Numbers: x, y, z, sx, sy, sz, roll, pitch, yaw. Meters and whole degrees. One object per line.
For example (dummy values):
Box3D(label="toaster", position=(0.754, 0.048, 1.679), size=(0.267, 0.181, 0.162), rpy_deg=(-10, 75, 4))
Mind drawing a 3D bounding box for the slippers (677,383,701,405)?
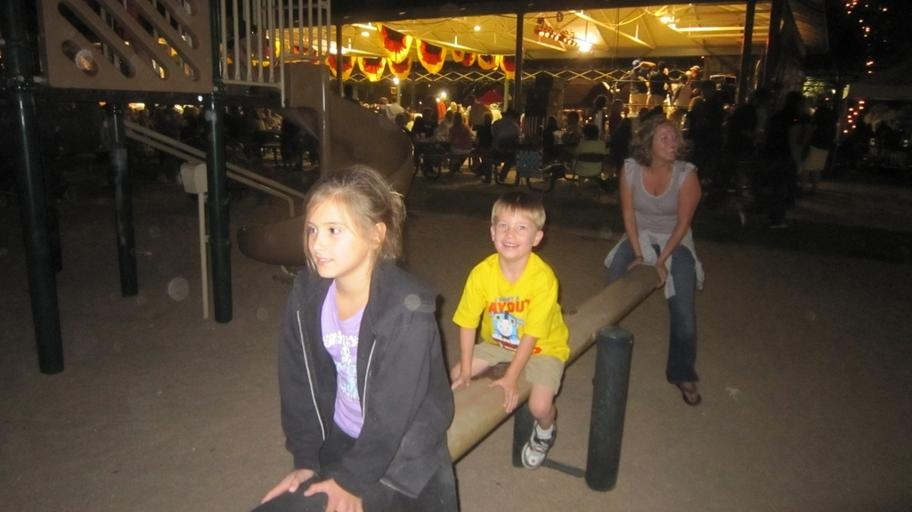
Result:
Box3D(label="slippers", position=(2.662, 1.572, 7.536), size=(0.156, 0.142, 0.342), rpy_deg=(-29, 38, 10))

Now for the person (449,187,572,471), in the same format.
Box3D(label="person", position=(0.535, 0.832, 6.484), size=(1.119, 2.778, 0.849), rpy_deg=(6, 16, 10))
